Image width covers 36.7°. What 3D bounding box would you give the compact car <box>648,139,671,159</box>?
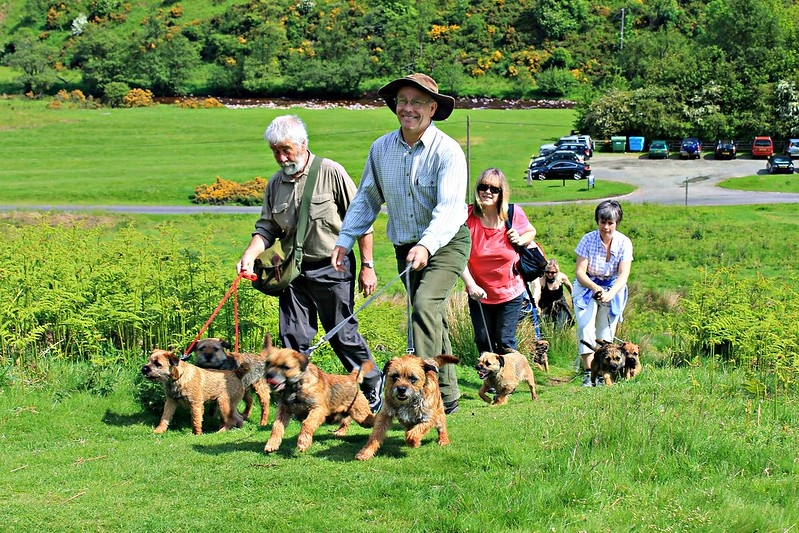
[{"bbox_3d":[23.743,-10.559,109.794,1.740,1.499,1.430,0,5,-3],"label":"compact car"}]

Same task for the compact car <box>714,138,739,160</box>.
[{"bbox_3d":[29.757,-10.573,109.204,1.263,0.822,2.719,7,26,18],"label":"compact car"}]

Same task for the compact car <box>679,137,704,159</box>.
[{"bbox_3d":[26.691,-10.774,109.693,1.157,0.942,2.647,3,22,19],"label":"compact car"}]

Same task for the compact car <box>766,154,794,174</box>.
[{"bbox_3d":[32.144,-8.552,101.301,2.171,1.506,1.638,2,6,24],"label":"compact car"}]

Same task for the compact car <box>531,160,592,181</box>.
[{"bbox_3d":[13.257,-7.801,99.162,4.131,1.272,2.022,3,8,3],"label":"compact car"}]

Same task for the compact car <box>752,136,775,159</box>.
[{"bbox_3d":[32.970,-10.703,108.626,1.462,1.440,2.625,1,3,22],"label":"compact car"}]
